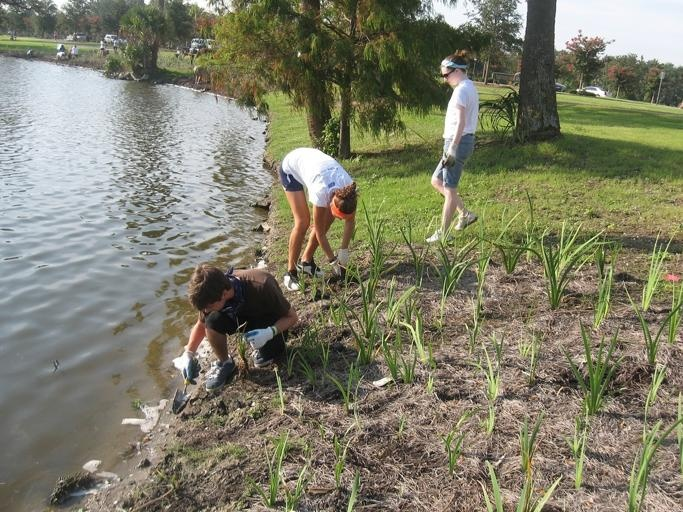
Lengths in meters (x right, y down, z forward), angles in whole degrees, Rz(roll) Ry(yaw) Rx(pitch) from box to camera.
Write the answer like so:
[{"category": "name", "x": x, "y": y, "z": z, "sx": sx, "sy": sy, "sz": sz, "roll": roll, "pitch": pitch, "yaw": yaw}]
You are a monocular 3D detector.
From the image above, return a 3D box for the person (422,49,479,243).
[{"category": "person", "x": 1.506, "y": -1.449, "z": 8.677, "sx": 0.598, "sy": 2.300, "sz": 1.114, "roll": 4, "pitch": 20, "yaw": 15}]

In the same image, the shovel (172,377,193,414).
[{"category": "shovel", "x": -1.750, "y": 1.531, "z": 7.074, "sx": 0.136, "sy": 0.546, "sz": 0.077, "roll": 7, "pitch": 25, "yaw": -23}]

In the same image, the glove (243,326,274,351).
[{"category": "glove", "x": -0.866, "y": 0.896, "z": 7.023, "sx": 0.338, "sy": 0.299, "sz": 0.184, "roll": -6, "pitch": 20, "yaw": -9}]

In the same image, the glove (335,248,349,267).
[{"category": "glove", "x": 0.003, "y": 0.012, "z": 8.152, "sx": 0.172, "sy": 0.313, "sz": 0.173, "roll": 0, "pitch": 1, "yaw": 8}]

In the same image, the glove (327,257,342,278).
[{"category": "glove", "x": -0.105, "y": 0.155, "z": 8.244, "sx": 0.128, "sy": 0.256, "sz": 0.233, "roll": -2, "pitch": 7, "yaw": -2}]

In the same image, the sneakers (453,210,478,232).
[{"category": "sneakers", "x": 1.674, "y": -0.472, "z": 8.859, "sx": 0.186, "sy": 0.394, "sz": 0.170, "roll": 22, "pitch": 45, "yaw": -25}]

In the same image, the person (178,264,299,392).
[{"category": "person", "x": -1.178, "y": 0.676, "z": 7.299, "sx": 1.178, "sy": 1.540, "sz": 1.049, "roll": -6, "pitch": 19, "yaw": -12}]

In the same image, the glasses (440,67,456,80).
[{"category": "glasses", "x": 1.432, "y": -2.422, "z": 8.739, "sx": 0.174, "sy": 0.063, "sz": 0.166, "roll": -32, "pitch": 33, "yaw": -30}]

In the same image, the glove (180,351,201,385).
[{"category": "glove", "x": -1.636, "y": 1.206, "z": 7.093, "sx": 0.093, "sy": 0.335, "sz": 0.227, "roll": -13, "pitch": -10, "yaw": 7}]

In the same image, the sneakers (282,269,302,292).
[{"category": "sneakers", "x": -0.647, "y": 0.317, "z": 8.371, "sx": 0.129, "sy": 0.232, "sz": 0.293, "roll": -4, "pitch": 8, "yaw": -24}]

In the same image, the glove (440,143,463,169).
[{"category": "glove", "x": 1.403, "y": -1.329, "z": 8.645, "sx": 0.257, "sy": 0.346, "sz": 0.332, "roll": 5, "pitch": 22, "yaw": 19}]

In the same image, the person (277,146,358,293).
[{"category": "person", "x": -0.303, "y": -0.375, "z": 8.111, "sx": 1.245, "sy": 1.734, "sz": 0.550, "roll": 12, "pitch": 23, "yaw": 33}]
